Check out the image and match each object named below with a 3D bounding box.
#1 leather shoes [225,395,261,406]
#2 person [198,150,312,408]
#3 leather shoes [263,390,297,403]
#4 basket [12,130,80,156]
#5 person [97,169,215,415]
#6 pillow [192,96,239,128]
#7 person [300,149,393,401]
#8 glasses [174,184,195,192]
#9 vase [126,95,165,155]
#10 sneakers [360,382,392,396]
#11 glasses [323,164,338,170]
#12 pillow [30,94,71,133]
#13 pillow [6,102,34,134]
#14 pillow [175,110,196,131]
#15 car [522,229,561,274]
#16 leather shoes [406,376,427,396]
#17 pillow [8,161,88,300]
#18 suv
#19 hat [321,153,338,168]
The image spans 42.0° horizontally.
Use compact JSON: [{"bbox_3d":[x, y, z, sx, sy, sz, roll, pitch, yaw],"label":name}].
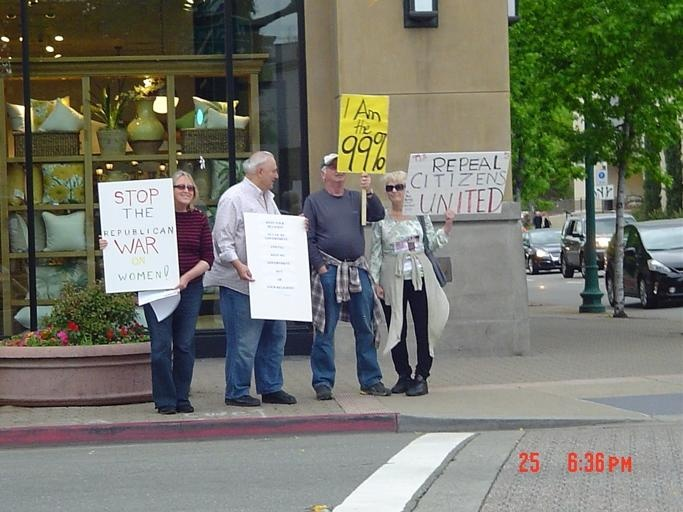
[{"bbox_3d":[-1.057,1.538,9.570,0.353,0.169,0.143,-3,-3,11],"label":"leather shoes"},{"bbox_3d":[-1.003,0.248,9.497,0.799,2.726,0.562,-4,3,-36],"label":"person"},{"bbox_3d":[-0.671,1.544,9.699,0.401,0.203,0.149,-2,-2,7],"label":"leather shoes"},{"bbox_3d":[-4.205,-1.592,12.694,0.934,0.350,0.115,-2,2,-1],"label":"basket"},{"bbox_3d":[-1.711,0.370,9.363,0.768,2.529,0.474,-2,2,-14],"label":"person"},{"bbox_3d":[-1.874,-2.045,12.888,0.464,0.525,0.182,-4,6,2],"label":"pillow"},{"bbox_3d":[0.011,0.236,9.718,0.820,2.664,0.379,-2,2,-6],"label":"person"},{"bbox_3d":[-1.657,-0.720,9.361,0.221,0.081,0.091,-3,3,-12],"label":"glasses"},{"bbox_3d":[-2.813,-1.892,12.818,0.679,1.017,0.681,0,-4,-5],"label":"vase"},{"bbox_3d":[0.380,1.479,9.939,0.320,0.160,0.145,-4,-7,25],"label":"sneakers"},{"bbox_3d":[-0.127,-0.955,9.635,0.083,0.065,0.138,1,0,-31],"label":"glasses"},{"bbox_3d":[-4.170,-2.034,12.652,0.468,0.492,0.148,-2,10,-24],"label":"pillow"},{"bbox_3d":[-4.537,-1.986,12.599,0.376,0.500,0.196,-7,3,-24],"label":"pillow"},{"bbox_3d":[-2.241,-1.947,12.840,0.244,0.247,0.224,7,-13,-33],"label":"pillow"},{"bbox_3d":[7.201,-0.143,31.909,1.225,1.167,2.579,-2,-5,-3],"label":"car"},{"bbox_3d":[0.838,1.458,9.984,0.132,0.171,0.279,-1,-2,29],"label":"leather shoes"},{"bbox_3d":[-4.089,-0.409,12.398,1.367,2.022,0.576,0,-1,7],"label":"pillow"},{"bbox_3d":[8.196,-0.460,29.141,1.883,2.006,3.654,0,-3,-9],"label":"suv"},{"bbox_3d":[-0.143,-1.038,9.669,0.112,0.130,0.343,-3,3,-24],"label":"hat"}]
